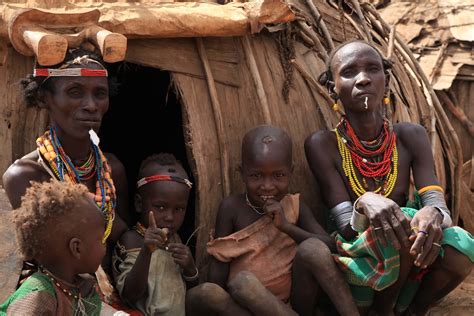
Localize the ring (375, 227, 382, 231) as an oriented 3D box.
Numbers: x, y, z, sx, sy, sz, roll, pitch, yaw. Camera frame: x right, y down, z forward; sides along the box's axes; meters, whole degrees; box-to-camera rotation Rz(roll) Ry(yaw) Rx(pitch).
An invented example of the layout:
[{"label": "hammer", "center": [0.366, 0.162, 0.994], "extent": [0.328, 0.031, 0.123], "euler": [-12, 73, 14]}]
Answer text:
[{"label": "ring", "center": [1.188, 0.590, 4.200], "extent": [0.033, 0.033, 0.025], "euler": [-25, 13, 1]}]

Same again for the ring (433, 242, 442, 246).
[{"label": "ring", "center": [1.694, 0.723, 4.224], "extent": [0.107, 0.041, 0.039], "euler": [-3, 2, -43]}]

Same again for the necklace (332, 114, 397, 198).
[{"label": "necklace", "center": [1.277, 0.003, 4.693], "extent": [0.495, 0.741, 0.146], "euler": [-6, -7, -3]}]

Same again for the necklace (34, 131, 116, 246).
[{"label": "necklace", "center": [-1.533, 0.279, 4.578], "extent": [0.256, 0.979, 0.786], "euler": [-23, -17, 36]}]

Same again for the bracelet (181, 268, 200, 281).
[{"label": "bracelet", "center": [-0.420, 1.065, 4.667], "extent": [0.134, 0.047, 0.132], "euler": [-4, 40, 30]}]

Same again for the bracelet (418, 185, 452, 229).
[{"label": "bracelet", "center": [1.856, 0.485, 4.739], "extent": [0.269, 0.375, 0.275], "euler": [6, -16, -36]}]
